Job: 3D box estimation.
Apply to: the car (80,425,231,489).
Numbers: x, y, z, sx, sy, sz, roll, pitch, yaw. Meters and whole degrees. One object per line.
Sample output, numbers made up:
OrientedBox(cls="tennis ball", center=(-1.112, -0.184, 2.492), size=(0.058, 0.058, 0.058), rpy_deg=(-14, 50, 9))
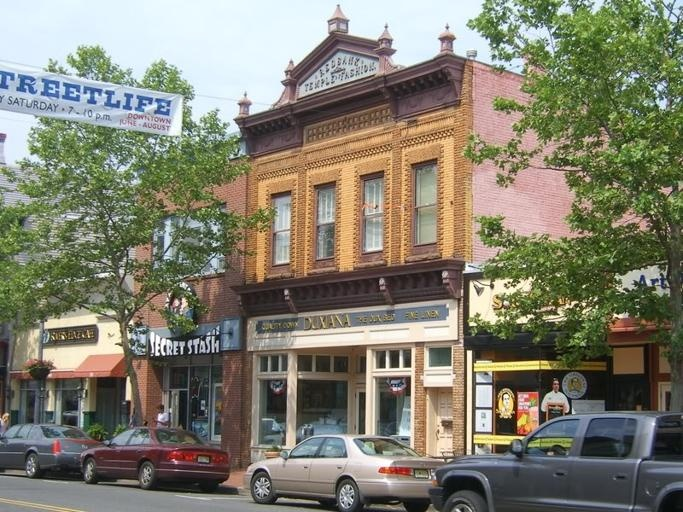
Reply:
OrientedBox(cls="car", center=(-5.253, 5.637, 25.880), size=(4.780, 1.672, 1.642), rpy_deg=(-12, -16, 39))
